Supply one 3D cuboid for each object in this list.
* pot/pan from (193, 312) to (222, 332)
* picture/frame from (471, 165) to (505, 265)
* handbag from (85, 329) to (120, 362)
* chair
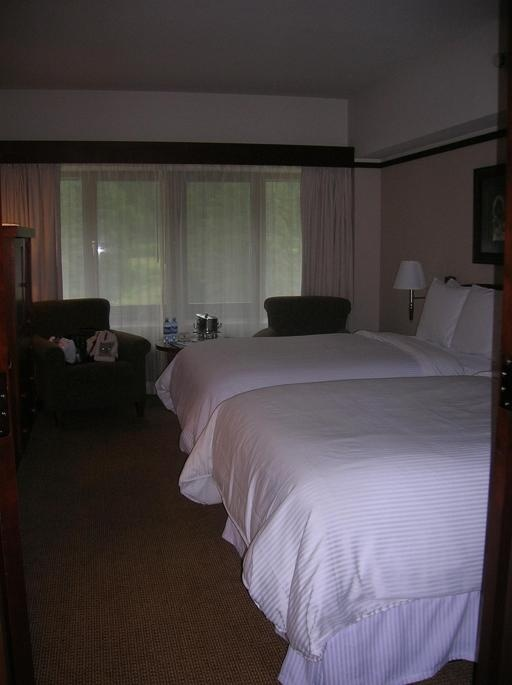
[{"bbox_3d":[-0.541,-0.216,5.650,0.169,0.234,0.242,0,0,-9],"label":"pot/pan"},{"bbox_3d":[1.782,-1.024,3.983,0.159,0.820,0.900,2,7,18],"label":"picture/frame"},{"bbox_3d":[-1.489,0.055,5.136,0.269,0.326,0.238,25,-6,18],"label":"handbag"},{"bbox_3d":[-1.691,0.104,5.171,0.983,1.305,1.172,-2,5,-25],"label":"chair"}]
